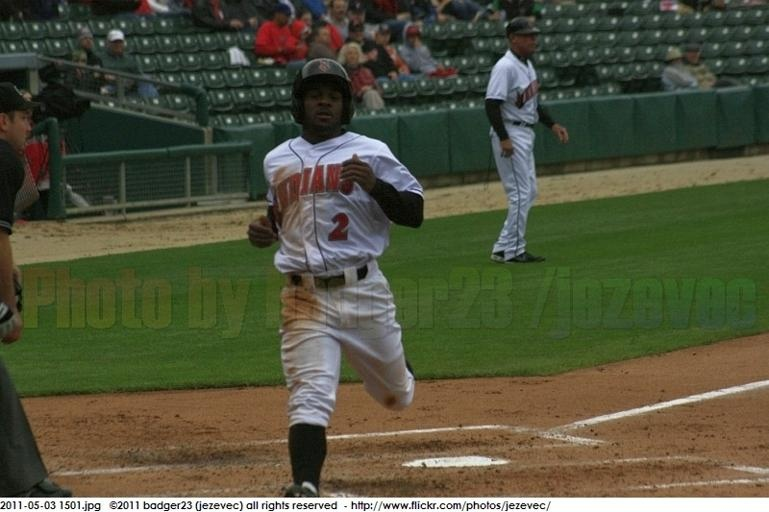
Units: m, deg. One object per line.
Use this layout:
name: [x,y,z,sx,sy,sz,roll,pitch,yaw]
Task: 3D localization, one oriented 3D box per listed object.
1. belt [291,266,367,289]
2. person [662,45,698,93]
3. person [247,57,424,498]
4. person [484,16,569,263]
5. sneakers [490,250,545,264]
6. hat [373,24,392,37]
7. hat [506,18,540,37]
belt: [-0.547,0.209,14.720,0.772,0.207,0.116,-2,8,-1]
person: [5.008,-3.166,26.174,0.606,0.696,0.881,-1,8,10]
person: [-0.504,0.162,14.677,1.513,4.047,1.136,-3,8,-8]
person: [1.669,-1.462,19.469,0.630,3.073,0.798,1,9,26]
sneakers: [1.683,0.045,19.468,0.625,0.172,0.213,-2,-3,4]
hat: [-0.042,-4.029,27.275,0.310,0.291,0.230,2,32,-5]
hat: [1.711,-2.887,19.373,0.350,0.234,0.518,-2,8,3]
